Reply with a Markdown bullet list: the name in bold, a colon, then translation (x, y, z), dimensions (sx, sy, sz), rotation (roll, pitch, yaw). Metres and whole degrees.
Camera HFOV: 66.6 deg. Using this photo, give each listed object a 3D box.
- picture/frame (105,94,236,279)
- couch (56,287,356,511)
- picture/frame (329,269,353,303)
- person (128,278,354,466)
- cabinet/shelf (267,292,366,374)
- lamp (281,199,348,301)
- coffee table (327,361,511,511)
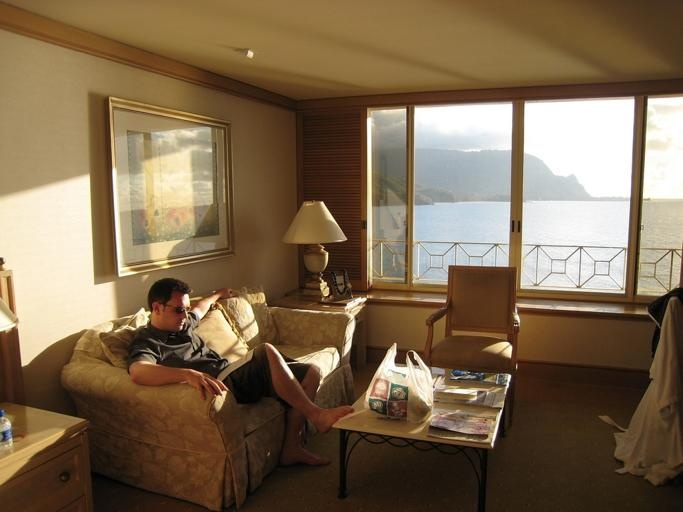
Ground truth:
- **picture/frame**: translation (-1.285, -0.519, 3.817), dimensions (0.094, 1.371, 1.352), rotation (5, 8, 30)
- **couch**: translation (-0.904, 0.412, 3.368), dimensions (1.119, 0.954, 1.797), rotation (2, 8, 20)
- **picture/frame**: translation (-0.005, 0.288, 4.810), dimensions (0.193, 0.265, 0.091), rotation (-10, 0, -28)
- **person**: translation (-0.656, 0.704, 3.374), dimensions (1.122, 0.975, 1.464), rotation (2, 1, 1)
- **cabinet/shelf**: translation (-0.171, 0.736, 4.860), dimensions (0.686, 0.719, 0.730), rotation (3, 10, 20)
- **lamp**: translation (-0.278, -0.103, 5.208), dimensions (0.787, 1.228, 0.836), rotation (-1, 11, 3)
- **coffee table**: translation (0.467, 1.056, 3.215), dimensions (1.021, 0.699, 0.835), rotation (3, 12, 17)
